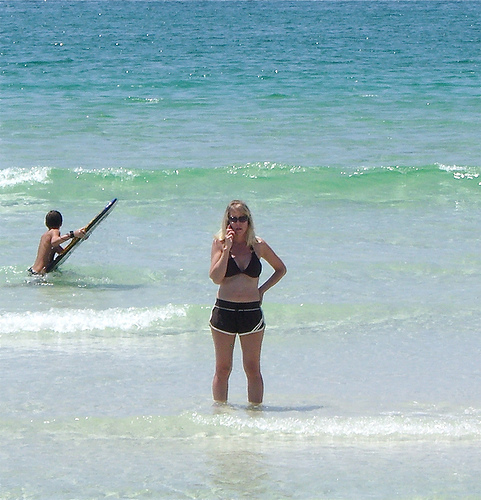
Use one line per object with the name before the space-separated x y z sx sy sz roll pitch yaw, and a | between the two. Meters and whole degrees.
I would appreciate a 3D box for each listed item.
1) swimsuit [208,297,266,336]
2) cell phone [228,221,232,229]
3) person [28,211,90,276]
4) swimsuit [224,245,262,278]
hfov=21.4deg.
swimsuit | -0.055 0.893 17.015 0.710 0.498 0.162 2 11 1
cell phone | -0.144 -0.349 16.918 0.017 0.092 0.085 -5 12 -33
person | -3.039 -0.105 21.517 0.451 1.108 1.134 -8 13 -42
swimsuit | 0.026 0.143 16.946 0.480 0.440 0.189 1 10 0
